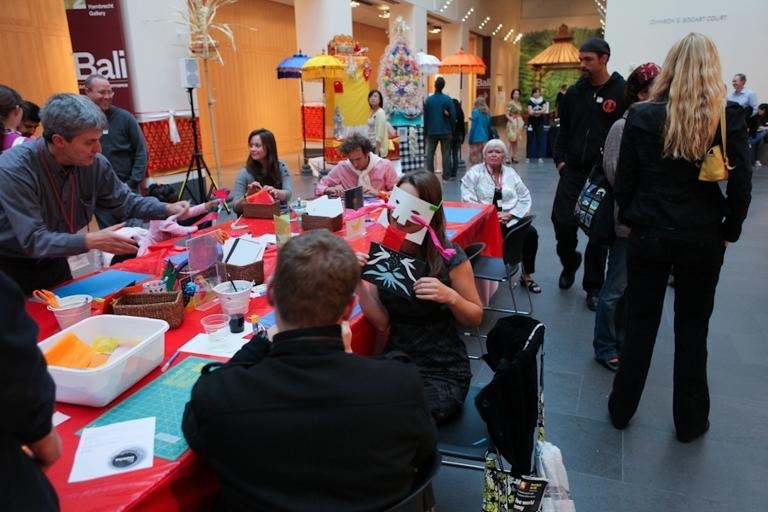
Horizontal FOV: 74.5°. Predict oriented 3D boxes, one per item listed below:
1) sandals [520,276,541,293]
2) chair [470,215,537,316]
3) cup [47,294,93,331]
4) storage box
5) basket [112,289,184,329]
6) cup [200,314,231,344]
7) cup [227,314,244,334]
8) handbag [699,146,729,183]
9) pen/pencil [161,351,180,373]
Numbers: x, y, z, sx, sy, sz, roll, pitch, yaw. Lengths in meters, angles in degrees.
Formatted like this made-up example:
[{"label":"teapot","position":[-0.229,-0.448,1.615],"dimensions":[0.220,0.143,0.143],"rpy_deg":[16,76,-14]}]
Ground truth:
[{"label":"sandals","position":[1.342,0.249,4.688],"dimensions":[0.085,0.101,0.253],"rpy_deg":[-21,22,-16]},{"label":"chair","position":[0.943,0.061,4.009],"dimensions":[0.578,0.792,0.555],"rpy_deg":[8,24,20]},{"label":"cup","position":[-1.393,0.210,2.245],"dimensions":[0.164,0.110,0.165],"rpy_deg":[1,16,0]},{"label":"storage box","position":[-1.026,0.384,1.925],"dimensions":[0.314,0.142,0.390],"rpy_deg":[9,20,10]},{"label":"basket","position":[-1.075,0.251,2.305],"dimensions":[0.276,0.130,0.201],"rpy_deg":[-2,14,-16]},{"label":"cup","position":[-0.731,0.303,2.198],"dimensions":[0.111,0.089,0.113],"rpy_deg":[-1,8,0]},{"label":"cup","position":[-0.652,0.298,2.231],"dimensions":[0.073,0.081,0.074],"rpy_deg":[-1,2,0]},{"label":"handbag","position":[1.654,-0.458,2.519],"dimensions":[0.089,0.164,0.162],"rpy_deg":[-20,17,-5]},{"label":"pen/pencil","position":[-0.876,0.429,2.061],"dimensions":[0.016,0.013,0.115],"rpy_deg":[18,23,3]}]
